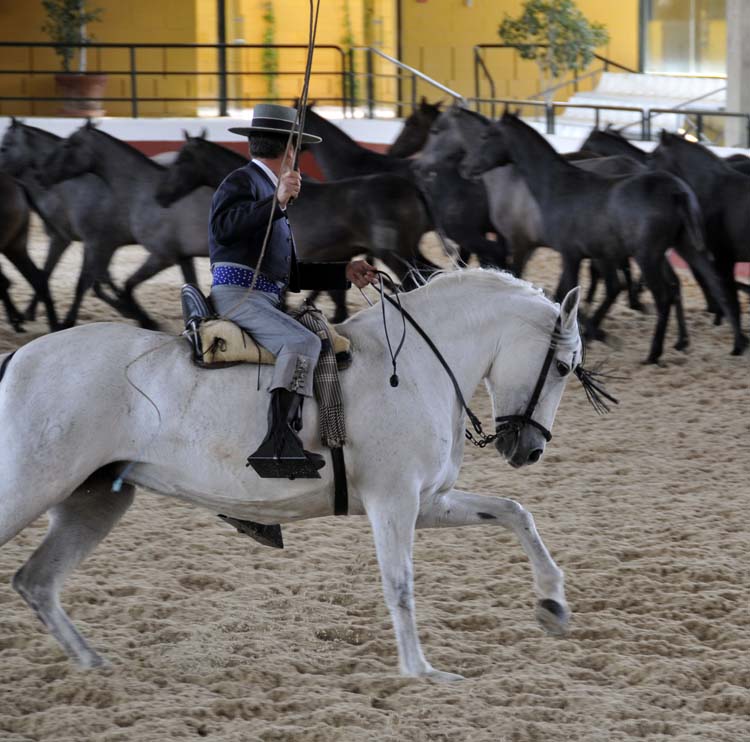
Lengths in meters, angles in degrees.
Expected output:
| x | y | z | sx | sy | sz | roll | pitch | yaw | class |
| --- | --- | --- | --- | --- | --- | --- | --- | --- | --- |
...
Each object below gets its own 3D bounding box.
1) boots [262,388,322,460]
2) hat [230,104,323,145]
| x | y | z | sx | sy | sz | roll | pitch | yaw | class |
| --- | --- | --- | --- | --- | --- | --- | --- | --- | --- |
| -0.415 | 0.237 | 8.697 | 0.295 | 0.290 | 0.204 | 6 | 6 | -13 | boots |
| -0.446 | -1.252 | 8.915 | 0.310 | 0.095 | 0.314 | 8 | 2 | 34 | hat |
